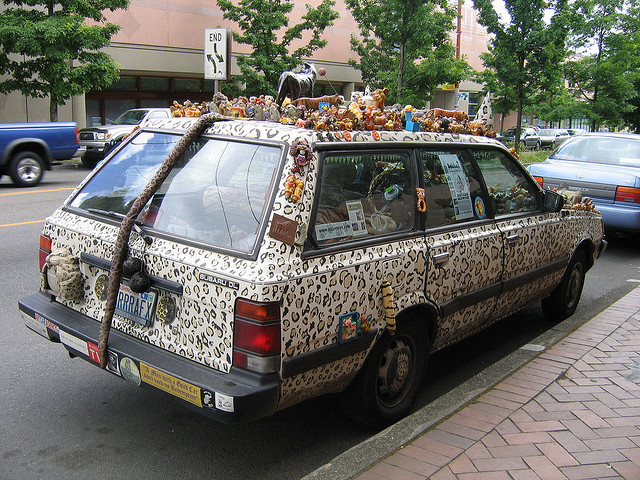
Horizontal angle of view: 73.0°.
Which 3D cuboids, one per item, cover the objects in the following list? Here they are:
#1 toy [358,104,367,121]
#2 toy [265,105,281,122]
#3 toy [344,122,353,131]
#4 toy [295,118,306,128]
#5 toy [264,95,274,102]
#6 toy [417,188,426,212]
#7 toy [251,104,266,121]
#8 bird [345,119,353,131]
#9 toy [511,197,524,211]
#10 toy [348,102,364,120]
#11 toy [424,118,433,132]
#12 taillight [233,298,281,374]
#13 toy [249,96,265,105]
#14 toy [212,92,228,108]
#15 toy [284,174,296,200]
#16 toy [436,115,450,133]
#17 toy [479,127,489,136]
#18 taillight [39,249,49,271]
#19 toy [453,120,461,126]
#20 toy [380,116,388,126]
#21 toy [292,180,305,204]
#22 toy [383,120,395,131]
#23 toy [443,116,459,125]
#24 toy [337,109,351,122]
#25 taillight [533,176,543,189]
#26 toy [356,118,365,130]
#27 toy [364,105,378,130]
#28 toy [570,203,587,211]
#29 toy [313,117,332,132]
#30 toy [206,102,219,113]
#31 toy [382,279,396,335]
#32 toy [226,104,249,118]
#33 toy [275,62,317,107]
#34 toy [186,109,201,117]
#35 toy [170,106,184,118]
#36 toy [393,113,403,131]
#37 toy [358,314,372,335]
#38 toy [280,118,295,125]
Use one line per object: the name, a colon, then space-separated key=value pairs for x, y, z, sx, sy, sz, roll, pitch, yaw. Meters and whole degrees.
toy: x=0.325 y=-0.974 z=3.287 sx=0.037 sy=0.112 sz=0.079 roll=-3 pitch=-16 yaw=-8
toy: x=-0.344 y=-0.926 z=3.184 sx=0.031 sy=0.123 sz=0.116 roll=-19 pitch=27 yaw=-41
toy: x=0.204 y=-0.805 z=3.075 sx=0.047 sy=0.051 sz=0.048 roll=15 pitch=41 yaw=31
toy: x=-0.124 y=-0.811 z=2.985 sx=0.057 sy=0.022 sz=0.072 roll=2 pitch=58 yaw=10
toy: x=-0.427 y=-1.167 z=3.563 sx=0.095 sy=0.031 sz=0.097 roll=1 pitch=12 yaw=5
toy: x=0.809 y=-0.315 z=3.450 sx=0.083 sy=0.189 sz=0.060 roll=-1 pitch=11 yaw=-4
toy: x=-0.477 y=-0.967 z=3.282 sx=0.083 sy=0.122 sz=0.211 roll=-7 pitch=14 yaw=-29
bird: x=0.204 y=-0.818 z=3.081 sx=0.054 sy=0.079 sz=0.046 roll=0 pitch=12 yaw=3
toy: x=2.092 y=-0.382 z=4.620 sx=0.079 sy=0.133 sz=0.247 roll=8 pitch=15 yaw=36
toy: x=0.272 y=-0.982 z=3.272 sx=0.077 sy=0.054 sz=0.157 roll=-5 pitch=38 yaw=1
toy: x=0.955 y=-1.017 z=3.831 sx=0.072 sy=0.126 sz=0.189 roll=3 pitch=12 yaw=17
taillight: x=-0.353 y=0.556 z=2.472 sx=0.257 sy=0.427 sz=0.107 roll=-2 pitch=11 yaw=-8
toy: x=-0.518 y=-1.143 z=3.550 sx=0.129 sy=0.053 sz=0.133 roll=-14 pitch=29 yaw=-25
toy: x=-0.799 y=-1.127 z=3.497 sx=0.138 sy=0.065 sz=0.170 roll=3 pitch=27 yaw=0
toy: x=-0.180 y=-0.322 z=2.635 sx=0.089 sy=0.144 sz=0.063 roll=-6 pitch=13 yaw=-27
toy: x=1.178 y=-1.110 z=4.144 sx=0.118 sy=0.105 sz=0.144 roll=-7 pitch=21 yaw=12
toy: x=1.757 y=-1.158 z=4.644 sx=0.053 sy=0.083 sz=0.258 roll=6 pitch=14 yaw=28
taillight: x=-2.228 y=0.167 z=3.513 sx=0.038 sy=0.173 sz=0.127 roll=12 pitch=6 yaw=-1
toy: x=1.327 y=-1.143 z=4.223 sx=0.087 sy=0.024 sz=0.087 roll=-13 pitch=27 yaw=-25
toy: x=0.496 y=-0.921 z=3.354 sx=0.039 sy=0.072 sz=0.104 roll=10 pitch=16 yaw=41
toy: x=-0.138 y=-0.295 z=2.675 sx=0.061 sy=0.135 sz=0.048 roll=29 pitch=-9 yaw=-39
toy: x=0.536 y=-0.889 z=3.372 sx=0.075 sy=0.081 sz=0.032 roll=6 pitch=3 yaw=-38
toy: x=1.285 y=-1.142 z=4.230 sx=0.112 sy=0.035 sz=0.111 roll=41 pitch=32 yaw=28
toy: x=0.168 y=-0.901 z=3.140 sx=0.078 sy=0.098 sz=0.197 roll=3 pitch=12 yaw=14
taillight: x=4.525 y=-1.208 z=9.011 sx=0.164 sy=0.199 sz=0.400 roll=5 pitch=13 yaw=24
toy: x=0.301 y=-0.849 z=3.179 sx=0.040 sy=0.078 sz=0.142 roll=2 pitch=12 yaw=11
toy: x=0.387 y=-0.931 z=3.298 sx=0.074 sy=0.179 sz=0.203 roll=3 pitch=12 yaw=16
toy: x=3.290 y=-0.407 z=5.522 sx=0.223 sy=0.094 sz=0.146 roll=-6 pitch=16 yaw=-32
toy: x=0.023 y=-0.778 z=2.928 sx=0.065 sy=0.080 sz=0.123 roll=22 pitch=56 yaw=36
toy: x=-0.837 y=-1.034 z=3.381 sx=0.092 sy=0.085 sz=0.210 roll=-4 pitch=13 yaw=-15
toy: x=0.481 y=0.468 z=3.060 sx=0.076 sy=0.401 sz=0.099 roll=0 pitch=5 yaw=22
toy: x=-0.641 y=-0.998 z=3.341 sx=0.161 sy=0.099 sz=0.081 roll=1 pitch=12 yaw=7
toy: x=-0.230 y=-1.685 z=4.783 sx=0.202 sy=0.519 sz=0.900 roll=13 pitch=22 yaw=20
toy: x=-1.085 y=-1.091 z=3.728 sx=0.101 sy=0.045 sz=0.068 roll=3 pitch=3 yaw=11
toy: x=-1.275 y=-1.149 z=3.874 sx=0.098 sy=0.096 sz=0.207 roll=-5 pitch=13 yaw=-22
toy: x=0.623 y=-0.947 z=3.481 sx=0.046 sy=0.138 sz=0.187 roll=5 pitch=13 yaw=27
toy: x=0.300 y=0.585 z=2.969 sx=0.033 sy=0.138 sz=0.142 roll=-1 pitch=3 yaw=39
toy: x=-0.234 y=-0.848 z=3.099 sx=0.094 sy=0.049 sz=0.127 roll=-3 pitch=13 yaw=-13
